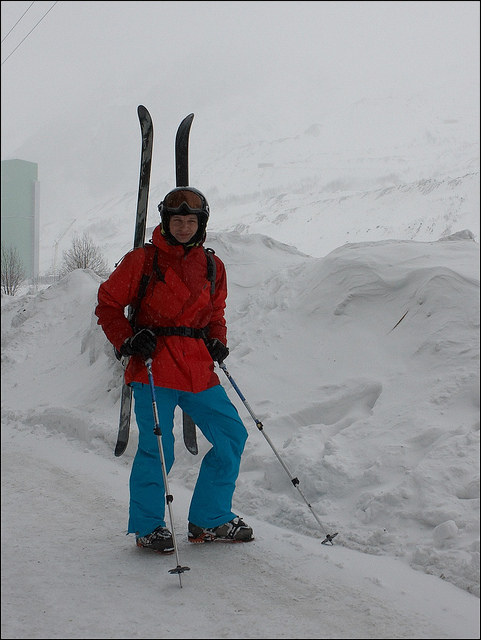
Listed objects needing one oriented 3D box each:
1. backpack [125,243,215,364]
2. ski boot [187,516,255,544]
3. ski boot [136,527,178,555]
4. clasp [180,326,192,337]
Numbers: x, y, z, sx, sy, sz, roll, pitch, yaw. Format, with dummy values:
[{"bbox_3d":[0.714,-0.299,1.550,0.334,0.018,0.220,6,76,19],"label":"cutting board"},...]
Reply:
[{"bbox_3d":[-0.368,-0.154,4.499,0.593,0.846,0.495,-4,-9,-6],"label":"backpack"},{"bbox_3d":[-0.134,1.346,4.489,0.402,0.180,0.154,-4,-2,-2],"label":"ski boot"},{"bbox_3d":[-0.499,1.341,4.253,0.280,0.135,0.102,-13,-12,40],"label":"ski boot"},{"bbox_3d":[-0.351,0.076,4.405,0.090,0.057,0.015,1,0,-39],"label":"clasp"}]
